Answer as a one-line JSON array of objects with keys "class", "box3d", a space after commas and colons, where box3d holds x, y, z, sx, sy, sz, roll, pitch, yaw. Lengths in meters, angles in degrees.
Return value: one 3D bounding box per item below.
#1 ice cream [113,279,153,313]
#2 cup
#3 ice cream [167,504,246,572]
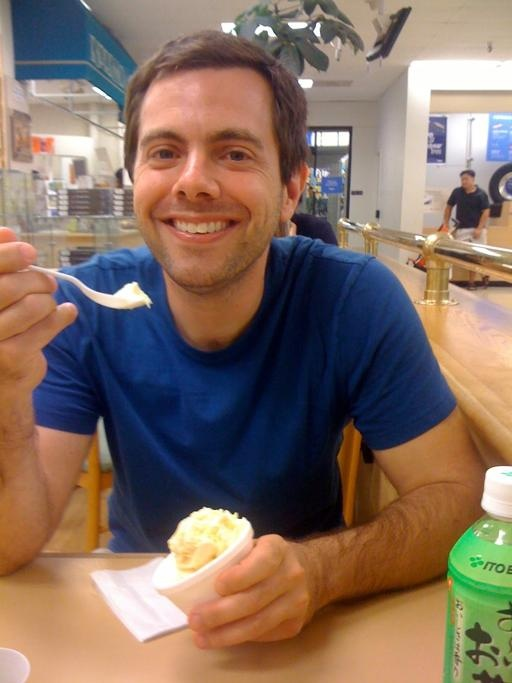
[{"class": "ice cream", "box3d": [-0.207, -0.081, 0.883, 0.068, 0.032, 0.051, 11, 52, 43]}, {"class": "cup", "box3d": [-0.043, 0.225, 0.544, 0.096, 0.071, 0.096, -24, 9, 4]}, {"class": "ice cream", "box3d": [-0.050, 0.185, 0.513, 0.050, 0.022, 0.062, -4, 16, 9]}]
